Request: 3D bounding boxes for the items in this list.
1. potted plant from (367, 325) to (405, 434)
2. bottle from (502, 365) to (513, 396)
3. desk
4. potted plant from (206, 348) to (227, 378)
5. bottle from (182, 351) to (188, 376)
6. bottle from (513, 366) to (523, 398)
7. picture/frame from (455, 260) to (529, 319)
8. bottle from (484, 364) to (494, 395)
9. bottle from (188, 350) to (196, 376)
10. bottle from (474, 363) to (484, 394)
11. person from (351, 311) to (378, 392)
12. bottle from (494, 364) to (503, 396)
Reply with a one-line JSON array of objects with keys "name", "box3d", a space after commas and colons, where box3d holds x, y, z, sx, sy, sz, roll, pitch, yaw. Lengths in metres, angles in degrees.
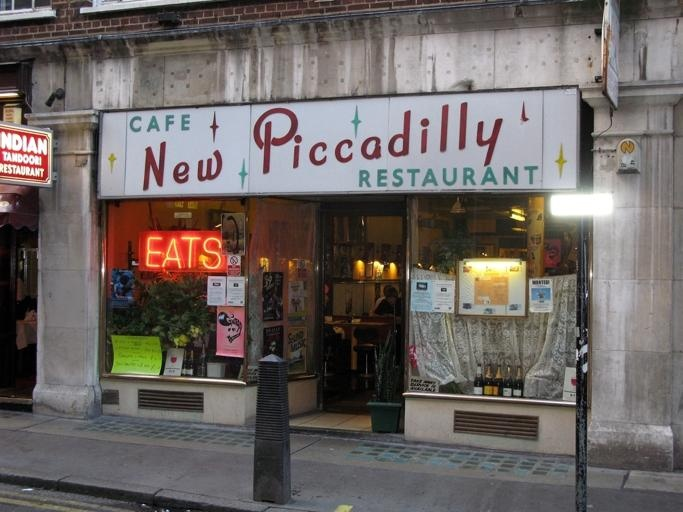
[{"name": "potted plant", "box3d": [0.719, 1.955, 13.110, 0.499, 1.507, 1.094, 0, -2, 5]}, {"name": "bottle", "box3d": [2.449, 1.818, 12.127, 0.158, 0.436, 0.127, 0, -2, 6]}, {"name": "desk", "box3d": [0.358, 1.589, 13.931, 1.265, 1.274, 0.636, 0, 1, 35]}, {"name": "potted plant", "box3d": [-2.030, 1.714, 13.321, 0.382, 0.415, 0.340, 1, -1, 24]}, {"name": "bottle", "box3d": [-2.537, 1.746, 13.459, 0.116, 0.383, 0.074, 0, -2, 4]}, {"name": "bottle", "box3d": [2.603, 1.823, 12.092, 0.149, 0.418, 0.106, 0, -2, 7]}, {"name": "picture/frame", "box3d": [2.282, 0.573, 12.458, 1.032, 0.957, 0.409, 1, -27, 10]}, {"name": "bottle", "box3d": [2.184, 1.814, 12.199, 0.133, 0.427, 0.137, 0, -2, 0]}, {"name": "bottle", "box3d": [-2.414, 1.726, 13.429, 0.123, 0.393, 0.070, 0, -2, 14]}, {"name": "bottle", "box3d": [2.039, 1.807, 12.221, 0.146, 0.444, 0.163, 0, -2, 9]}, {"name": "person", "box3d": [0.390, 1.646, 14.367, 0.430, 0.820, 0.401, -11, 9, -26]}, {"name": "bottle", "box3d": [2.321, 1.818, 12.167, 0.136, 0.427, 0.129, 0, -2, 0]}]
